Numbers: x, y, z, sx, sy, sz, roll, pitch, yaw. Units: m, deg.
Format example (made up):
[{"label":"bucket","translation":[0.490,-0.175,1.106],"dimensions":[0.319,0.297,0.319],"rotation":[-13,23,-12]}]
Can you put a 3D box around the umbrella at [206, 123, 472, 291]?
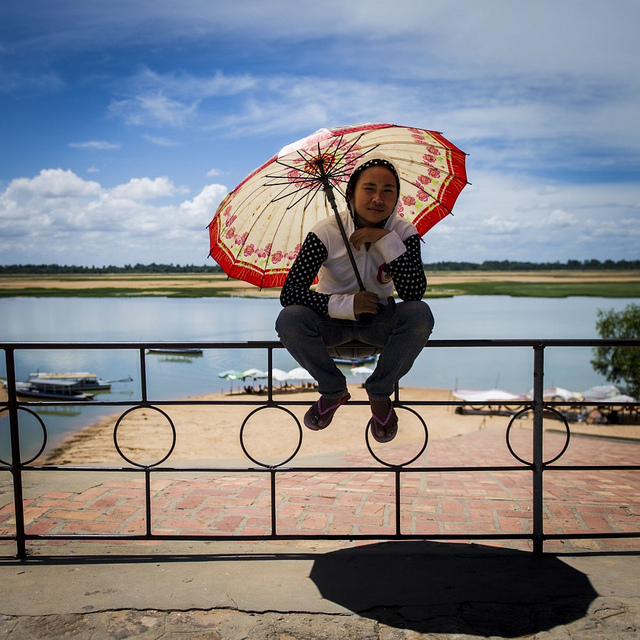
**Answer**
[{"label":"umbrella","translation":[0.050,-0.787,4.699],"dimensions":[1.688,0.520,1.359],"rotation":[-18,-30,-4]}]

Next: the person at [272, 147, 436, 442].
[{"label":"person","translation":[0.185,-0.134,4.036],"dimensions":[0.898,1.639,0.467],"rotation":[-2,5,6]}]

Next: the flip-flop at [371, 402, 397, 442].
[{"label":"flip-flop","translation":[0.358,0.587,4.008],"dimensions":[0.139,0.237,0.179],"rotation":[-2,4,2]}]
